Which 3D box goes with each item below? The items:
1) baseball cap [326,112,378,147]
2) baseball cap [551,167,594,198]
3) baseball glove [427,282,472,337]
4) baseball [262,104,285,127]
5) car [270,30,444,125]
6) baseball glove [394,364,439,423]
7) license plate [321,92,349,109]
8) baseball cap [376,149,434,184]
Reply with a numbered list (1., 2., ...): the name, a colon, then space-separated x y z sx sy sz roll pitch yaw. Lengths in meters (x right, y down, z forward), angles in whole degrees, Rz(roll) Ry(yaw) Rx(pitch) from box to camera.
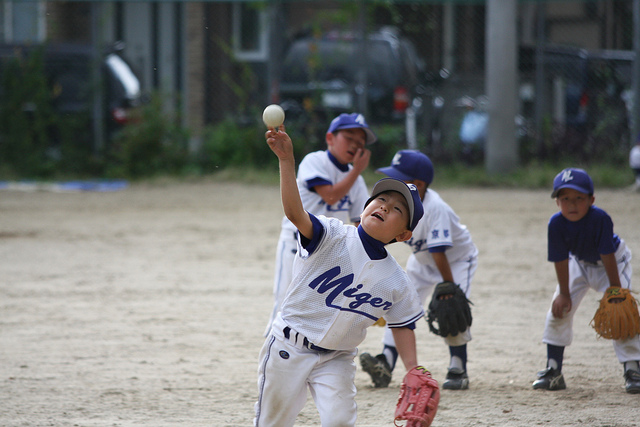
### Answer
1. baseball cap: 0.332 -0.774 14.111 0.361 0.271 0.582 1 4 20
2. baseball cap: 2.126 -0.285 13.338 0.344 0.274 0.493 -5 -5 12
3. baseball glove: 1.118 0.816 13.592 0.365 0.474 0.137 0 3 6
4. baseball: -0.353 -0.797 12.532 0.159 0.162 0.098 37 12 -5
5. car: 0.376 -1.804 19.820 1.275 1.129 2.221 2 21 6
6. baseball glove: 0.772 1.422 12.482 0.179 0.397 0.308 28 -35 -36
7. license plate: 0.207 -1.471 20.110 0.357 0.193 0.155 0 3 0
8. baseball cap: 0.763 -0.419 13.719 0.436 0.287 0.392 -2 4 -23
